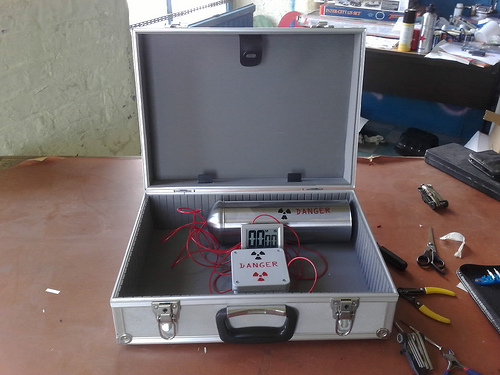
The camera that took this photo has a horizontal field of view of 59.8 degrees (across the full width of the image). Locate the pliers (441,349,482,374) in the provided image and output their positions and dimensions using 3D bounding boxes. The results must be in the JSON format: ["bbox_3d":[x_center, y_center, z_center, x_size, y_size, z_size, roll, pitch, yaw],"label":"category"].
[{"bbox_3d":[0.631,0.509,1.321,0.085,0.044,0.099,-7,22,-3],"label":"pliers"}]

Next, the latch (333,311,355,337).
[{"bbox_3d":[0.285,0.390,1.303,0.074,0.045,0.102,3,15,6],"label":"latch"}]

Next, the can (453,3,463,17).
[{"bbox_3d":[1.579,-1.335,3.274,0.059,0.087,0.098,12,30,20],"label":"can"}]

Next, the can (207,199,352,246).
[{"bbox_3d":[0.110,0.138,1.699,0.563,0.185,0.174,-2,4,13],"label":"can"}]

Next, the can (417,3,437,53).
[{"bbox_3d":[1.203,-1.070,2.929,0.094,0.288,0.204,10,30,17],"label":"can"}]

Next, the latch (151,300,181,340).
[{"bbox_3d":[-0.244,0.390,1.286,0.084,0.142,0.026,-4,29,-9],"label":"latch"}]

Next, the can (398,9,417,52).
[{"bbox_3d":[1.078,-1.070,2.963,0.085,0.257,0.184,10,30,17],"label":"can"}]

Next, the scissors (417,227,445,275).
[{"bbox_3d":[0.688,0.211,1.653,0.097,0.019,0.232,10,45,14],"label":"scissors"}]

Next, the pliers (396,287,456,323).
[{"bbox_3d":[0.589,0.376,1.452,0.191,0.029,0.116,8,49,11],"label":"pliers"}]

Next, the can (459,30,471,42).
[{"bbox_3d":[1.522,-1.061,3.048,0.067,0.052,0.127,24,35,35],"label":"can"}]

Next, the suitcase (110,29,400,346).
[{"bbox_3d":[0.015,-0.032,1.401,0.914,0.825,0.699,3,35,4],"label":"suitcase"}]
